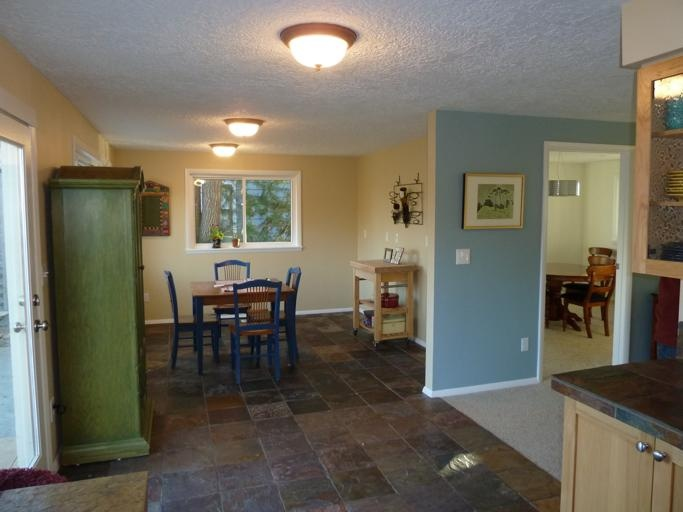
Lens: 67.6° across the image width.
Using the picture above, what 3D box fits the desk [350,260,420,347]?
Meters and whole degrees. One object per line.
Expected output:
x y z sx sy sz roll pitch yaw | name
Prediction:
0.574 0.578 6.581 0.682 1.014 0.796 -4 10 -20 | desk

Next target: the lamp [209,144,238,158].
-1.505 -1.327 6.447 0.314 0.107 0.302 -1 6 -11 | lamp

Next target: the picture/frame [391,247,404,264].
0.720 0.006 6.614 0.062 0.168 0.257 17 0 -31 | picture/frame

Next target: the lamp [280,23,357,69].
-0.128 -1.203 2.955 0.459 0.216 0.168 -2 10 -8 | lamp

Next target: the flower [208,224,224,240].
-1.870 -0.335 7.599 0.206 0.193 0.239 -3 9 -14 | flower

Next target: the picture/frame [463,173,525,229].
1.382 -0.507 4.728 0.560 0.441 0.035 0 2 -19 | picture/frame

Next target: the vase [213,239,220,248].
-1.844 -0.171 7.577 0.112 0.119 0.110 2 -1 -40 | vase

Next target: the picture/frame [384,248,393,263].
0.623 0.004 6.850 0.014 0.183 0.203 0 3 -22 | picture/frame

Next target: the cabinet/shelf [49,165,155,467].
-1.750 0.413 3.706 0.677 2.082 0.499 -4 11 -19 | cabinet/shelf
